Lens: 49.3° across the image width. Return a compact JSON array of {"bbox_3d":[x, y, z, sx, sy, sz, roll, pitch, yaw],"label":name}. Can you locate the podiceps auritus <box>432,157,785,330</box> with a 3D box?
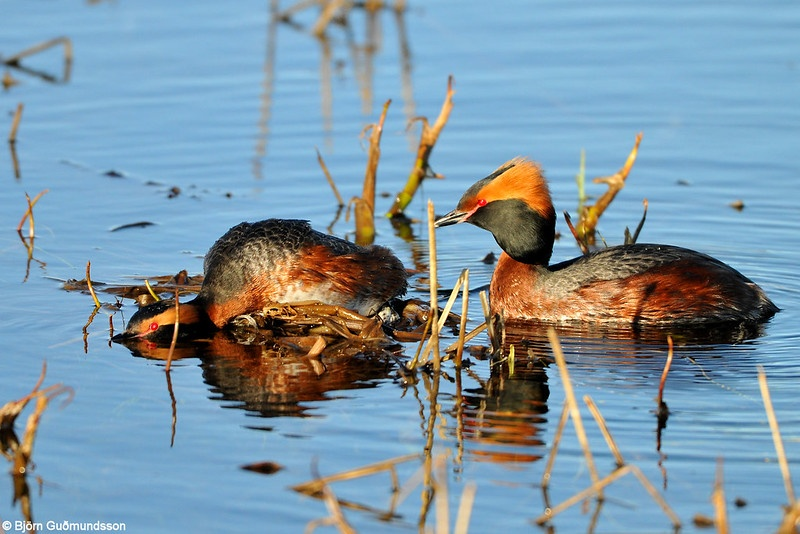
[{"bbox_3d":[2.713,-0.157,9.382,5.305,1.773,1.823,1,106,33],"label":"podiceps auritus"}]
